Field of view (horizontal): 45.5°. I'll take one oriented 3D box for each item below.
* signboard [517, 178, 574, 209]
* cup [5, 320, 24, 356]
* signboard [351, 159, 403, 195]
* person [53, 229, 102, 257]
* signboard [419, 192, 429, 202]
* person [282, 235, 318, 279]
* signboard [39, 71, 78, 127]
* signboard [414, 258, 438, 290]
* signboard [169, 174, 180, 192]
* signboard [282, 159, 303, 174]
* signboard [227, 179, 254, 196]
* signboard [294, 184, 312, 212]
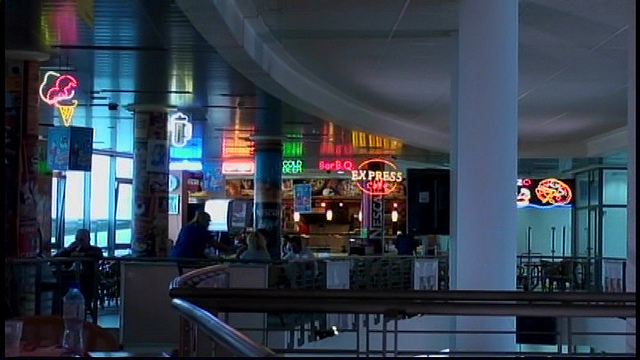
[{"bbox_3d":[7.399,0.377,24.862,0.283,1.023,2.349,7,-7,-36],"label":"signboard"},{"bbox_3d":[-3.959,2.002,9.788,0.206,0.434,0.222,1,-6,0],"label":"cup"},{"bbox_3d":[1.794,-0.179,24.297,1.508,0.949,0.181,0,-8,0],"label":"signboard"},{"bbox_3d":[-5.142,1.419,16.405,0.604,0.761,0.732,-1,-1,10],"label":"person"},{"bbox_3d":[2.491,0.389,18.302,0.225,0.233,0.090,1,-7,5],"label":"signboard"},{"bbox_3d":[-0.446,1.942,16.414,0.780,1.470,0.510,-4,-16,-6],"label":"person"},{"bbox_3d":[-5.390,-1.717,15.683,1.284,1.452,0.122,1,5,26],"label":"signboard"},{"bbox_3d":[2.353,2.091,16.763,0.058,0.722,0.715,10,-13,-40],"label":"signboard"},{"bbox_3d":[-5.381,0.082,28.100,0.325,0.648,0.140,-1,-7,16],"label":"signboard"},{"bbox_3d":[-0.953,-0.496,25.332,0.583,0.303,0.072,0,-10,-3],"label":"signboard"},{"bbox_3d":[-3.124,0.256,29.472,1.213,0.562,0.743,2,-4,-7],"label":"signboard"},{"bbox_3d":[-0.649,0.591,26.862,0.529,0.903,0.244,1,-7,5],"label":"signboard"}]
